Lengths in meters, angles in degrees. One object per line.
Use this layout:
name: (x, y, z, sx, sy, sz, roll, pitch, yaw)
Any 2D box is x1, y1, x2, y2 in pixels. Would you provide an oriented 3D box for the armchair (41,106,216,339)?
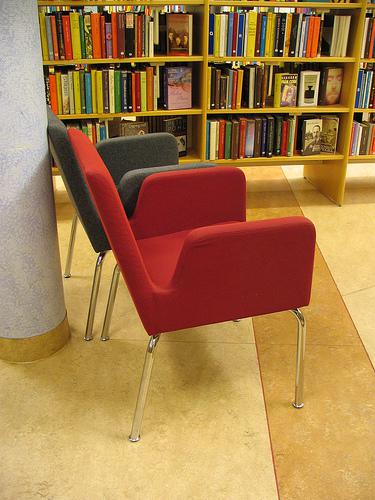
armchair: (-0.142, -0.301, 1.884, 0.917, 1.057, 0.774, -7, 35, -15)

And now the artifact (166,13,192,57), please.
artifact: (-0.058, -1.468, 2.694, 0.175, 0.240, 0.089, 3, 31, 6)

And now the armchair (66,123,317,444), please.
armchair: (0.119, -0.084, 1.566, 0.969, 1.139, 0.822, -7, 34, -10)
